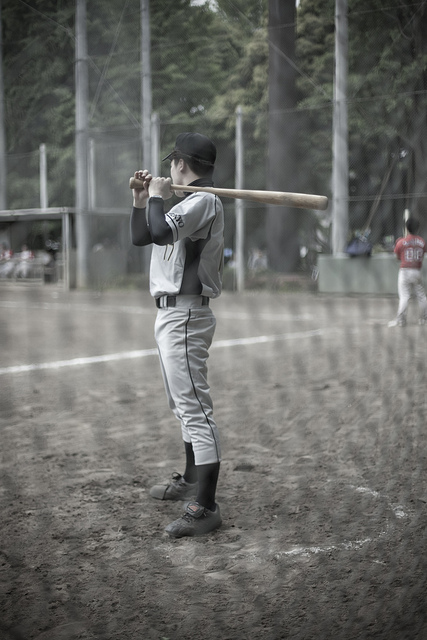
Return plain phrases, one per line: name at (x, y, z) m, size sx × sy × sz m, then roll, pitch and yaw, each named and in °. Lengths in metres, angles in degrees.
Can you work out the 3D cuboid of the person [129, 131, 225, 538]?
person at (-0.150, 0.010, 2.516) m, size 0.369 × 1.507 × 0.594 m, roll 0°, pitch 4°, yaw 0°
